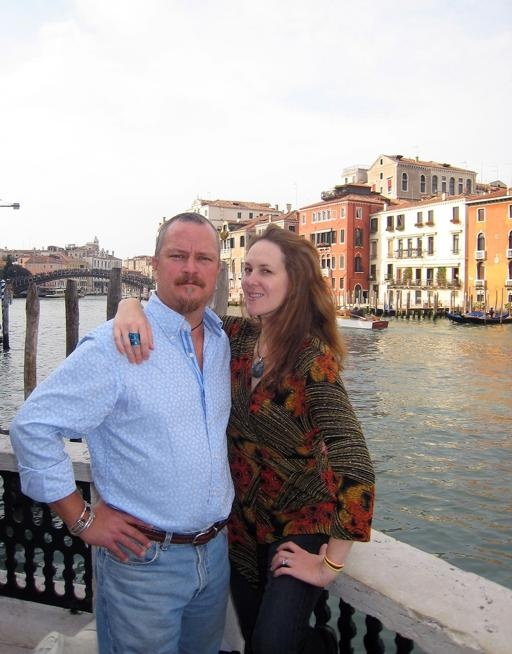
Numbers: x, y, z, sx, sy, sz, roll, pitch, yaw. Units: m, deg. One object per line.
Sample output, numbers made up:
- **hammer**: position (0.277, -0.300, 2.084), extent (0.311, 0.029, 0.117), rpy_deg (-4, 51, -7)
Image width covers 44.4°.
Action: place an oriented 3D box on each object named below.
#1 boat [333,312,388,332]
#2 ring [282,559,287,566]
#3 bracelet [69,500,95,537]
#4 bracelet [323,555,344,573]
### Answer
- **boat**: position (6.100, -0.216, 35.732), extent (2.423, 0.802, 6.710), rpy_deg (0, -2, 0)
- **ring**: position (0.080, 0.706, 1.882), extent (0.022, 0.015, 0.028), rpy_deg (1, -26, -1)
- **bracelet**: position (-0.495, 0.559, 1.842), extent (0.037, 0.088, 0.081), rpy_deg (28, -18, 12)
- **bracelet**: position (0.235, 0.707, 1.865), extent (0.051, 0.018, 0.045), rpy_deg (33, -1, -8)
